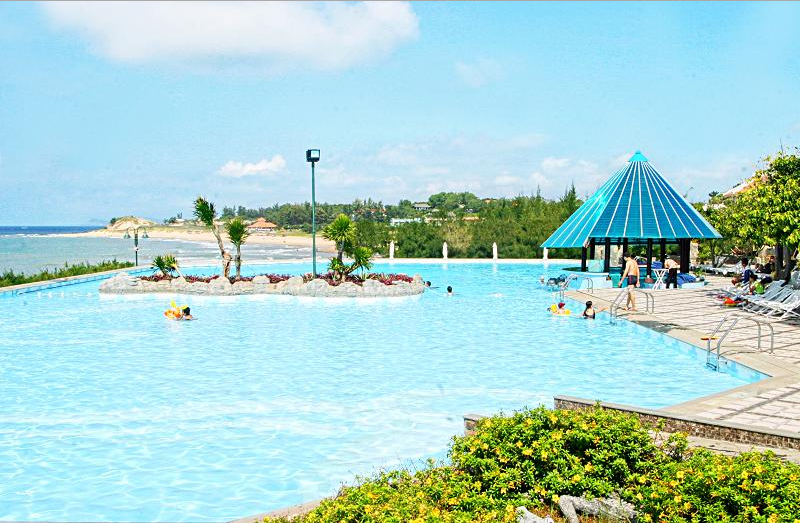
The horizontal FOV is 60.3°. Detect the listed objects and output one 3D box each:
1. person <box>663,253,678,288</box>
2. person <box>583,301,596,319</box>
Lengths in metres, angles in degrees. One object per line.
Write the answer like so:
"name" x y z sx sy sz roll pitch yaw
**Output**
"person" 12.813 0.547 32.573 0.597 1.173 1.299 3 10 20
"person" 6.761 1.668 24.611 0.440 0.748 1.132 2 9 17
